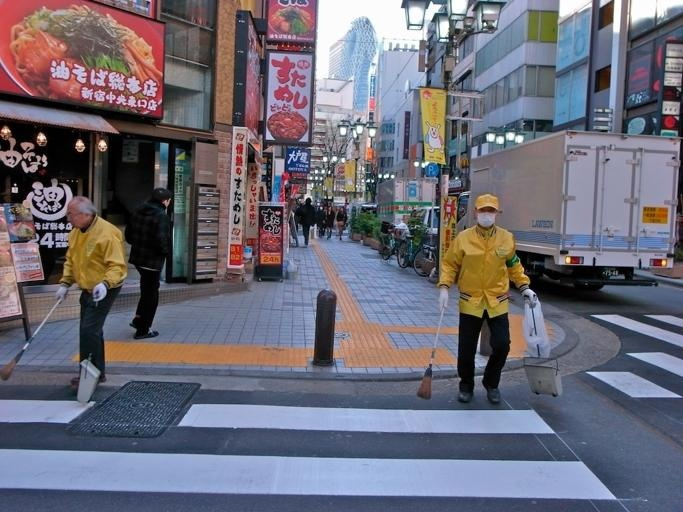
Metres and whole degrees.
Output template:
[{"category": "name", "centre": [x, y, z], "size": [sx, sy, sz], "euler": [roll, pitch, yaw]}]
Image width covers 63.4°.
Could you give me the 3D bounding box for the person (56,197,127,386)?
[{"category": "person", "centre": [-2.693, 0.392, 5.974], "size": [0.788, 2.053, 0.539], "euler": [5, 6, 32]}]

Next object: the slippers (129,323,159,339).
[{"category": "slippers", "centre": [-2.893, 1.145, 8.265], "size": [0.180, 0.236, 0.522], "euler": [10, 9, 37]}]

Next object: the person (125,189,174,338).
[{"category": "person", "centre": [-2.888, 0.193, 8.227], "size": [0.600, 1.970, 0.439], "euler": [0, 5, -21]}]

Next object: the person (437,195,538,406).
[{"category": "person", "centre": [1.552, 0.465, 6.077], "size": [1.021, 2.260, 0.471], "euler": [2, 5, 1]}]

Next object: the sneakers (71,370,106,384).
[{"category": "sneakers", "centre": [-2.774, 1.344, 6.005], "size": [0.295, 0.117, 0.283], "euler": [-1, -3, 17]}]

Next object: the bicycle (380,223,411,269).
[{"category": "bicycle", "centre": [2.183, -0.543, 20.386], "size": [0.848, 1.100, 1.764], "euler": [3, 0, -21]}]

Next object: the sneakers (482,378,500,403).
[{"category": "sneakers", "centre": [1.675, 1.492, 6.183], "size": [0.110, 0.142, 0.340], "euler": [-1, 9, -5]}]

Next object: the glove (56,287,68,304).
[{"category": "glove", "centre": [-3.016, 0.423, 5.968], "size": [0.122, 0.180, 0.056], "euler": [14, -10, 25]}]

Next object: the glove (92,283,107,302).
[{"category": "glove", "centre": [-2.516, 0.375, 5.754], "size": [0.150, 0.236, 0.283], "euler": [-1, 6, -24]}]

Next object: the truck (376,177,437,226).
[{"category": "truck", "centre": [3.651, -3.302, 31.376], "size": [1.748, 2.158, 3.831], "euler": [0, 7, -3]}]

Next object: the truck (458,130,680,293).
[{"category": "truck", "centre": [5.647, -1.276, 14.787], "size": [2.578, 3.317, 5.560], "euler": [1, 3, -6]}]

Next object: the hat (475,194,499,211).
[{"category": "hat", "centre": [1.587, -0.589, 6.066], "size": [0.225, 0.166, 0.456], "euler": [3, 6, 13]}]

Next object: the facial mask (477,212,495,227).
[{"category": "facial mask", "centre": [1.536, -0.396, 5.871], "size": [0.145, 0.120, 0.161], "euler": [3, 7, 8]}]
